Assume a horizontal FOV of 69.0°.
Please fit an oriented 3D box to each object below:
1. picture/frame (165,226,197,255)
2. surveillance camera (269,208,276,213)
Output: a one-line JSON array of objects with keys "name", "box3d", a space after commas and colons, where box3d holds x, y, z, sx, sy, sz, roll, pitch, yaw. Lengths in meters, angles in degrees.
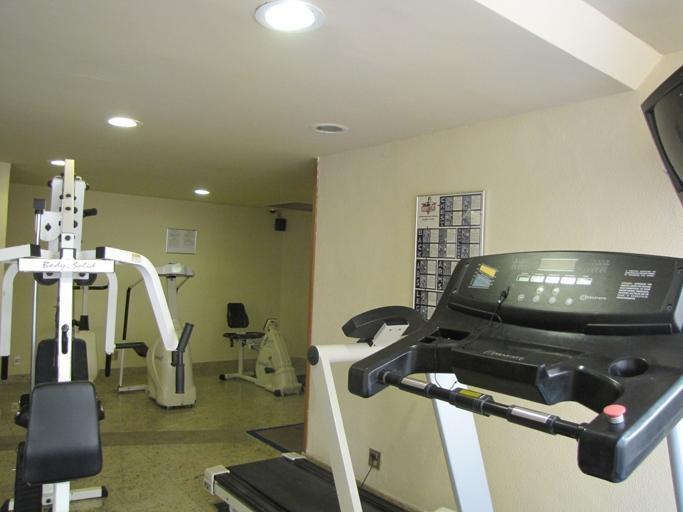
[{"name": "picture/frame", "box3d": [-2.408, -0.238, 7.331, 0.429, 0.357, 0.042, 3, -5, -44]}, {"name": "surveillance camera", "box3d": [-1.137, -0.743, 8.120, 0.080, 0.082, 0.119, 3, 0, 42]}]
